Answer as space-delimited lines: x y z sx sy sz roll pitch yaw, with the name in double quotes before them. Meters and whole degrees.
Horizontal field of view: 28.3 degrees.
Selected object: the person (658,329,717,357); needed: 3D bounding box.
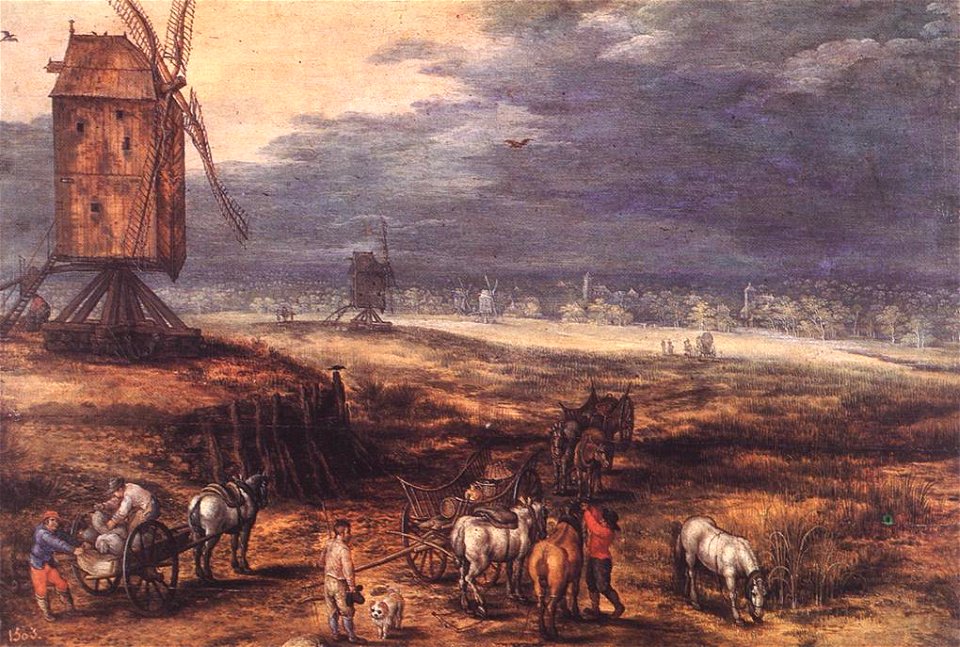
"person" 5.162 0.526 47.050 1.382 0.646 0.265 0 2 4
